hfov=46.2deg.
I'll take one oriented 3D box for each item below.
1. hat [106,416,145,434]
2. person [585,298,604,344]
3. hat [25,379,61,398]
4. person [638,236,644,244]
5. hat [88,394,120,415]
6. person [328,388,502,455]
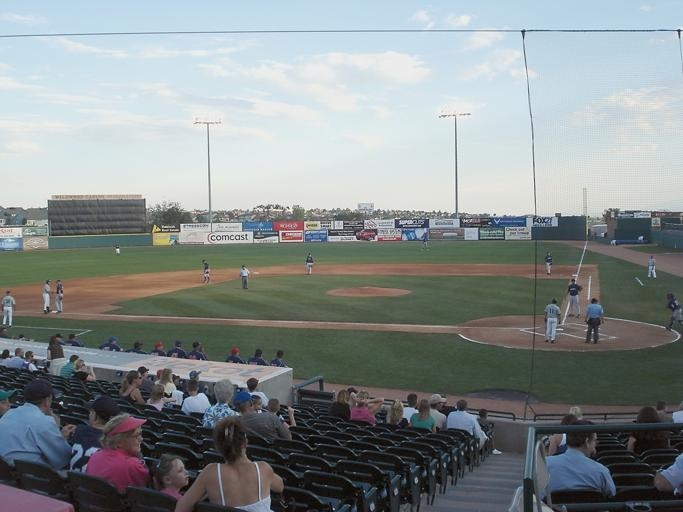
[{"bbox_3d":[-2.958,2.310,10.959,0.401,0.112,0.255,-8,1,-19],"label":"hat"},{"bbox_3d":[7.700,1.910,24.432,0.470,1.398,1.344,1,8,17],"label":"person"},{"bbox_3d":[-4.493,1.963,11.825,0.385,0.293,0.296,-4,8,-24],"label":"hat"},{"bbox_3d":[27.725,-1.565,74.102,0.462,0.599,1.311,1,7,19],"label":"person"},{"bbox_3d":[-3.388,2.138,11.438,0.360,0.280,0.460,-3,7,-12],"label":"hat"},{"bbox_3d":[1.426,3.206,15.458,1.603,0.870,0.566,7,29,25],"label":"person"}]
